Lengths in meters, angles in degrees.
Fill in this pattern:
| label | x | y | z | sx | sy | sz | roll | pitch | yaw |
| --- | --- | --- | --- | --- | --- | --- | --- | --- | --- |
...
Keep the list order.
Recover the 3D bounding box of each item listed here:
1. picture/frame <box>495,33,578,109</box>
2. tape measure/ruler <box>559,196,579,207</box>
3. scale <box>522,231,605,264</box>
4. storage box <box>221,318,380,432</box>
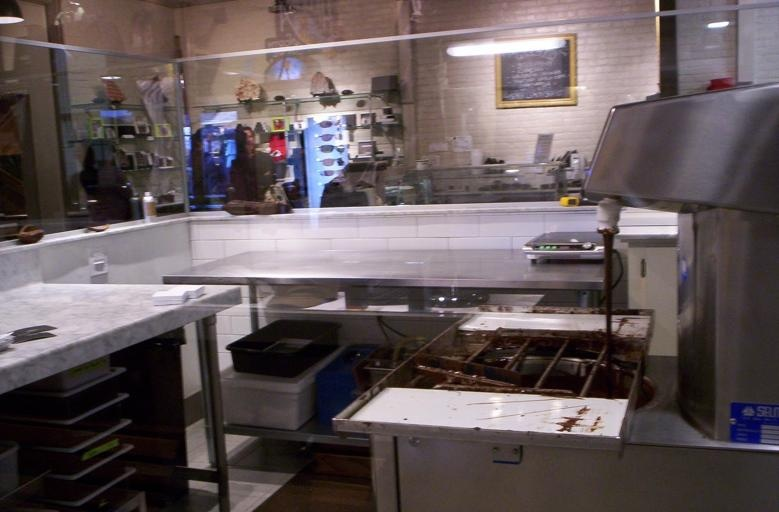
| label | x | y | z | sx | sy | sz | roll | pitch | yaw |
| --- | --- | --- | --- | --- | --- | --- | --- | --- | --- |
| picture/frame | 0.726 | -0.904 | 3.034 | 0.695 | 0.332 | 0.044 | 1 | 2 | 12 |
| tape measure/ruler | 0.864 | -0.263 | 3.012 | 0.106 | 0.041 | 0.058 | 0 | 4 | 11 |
| scale | 0.814 | -0.030 | 2.967 | 0.356 | 0.149 | 0.248 | 0 | 13 | 10 |
| storage box | -0.577 | 0.604 | 3.381 | 0.881 | 0.295 | 0.637 | 0 | 2 | -4 |
